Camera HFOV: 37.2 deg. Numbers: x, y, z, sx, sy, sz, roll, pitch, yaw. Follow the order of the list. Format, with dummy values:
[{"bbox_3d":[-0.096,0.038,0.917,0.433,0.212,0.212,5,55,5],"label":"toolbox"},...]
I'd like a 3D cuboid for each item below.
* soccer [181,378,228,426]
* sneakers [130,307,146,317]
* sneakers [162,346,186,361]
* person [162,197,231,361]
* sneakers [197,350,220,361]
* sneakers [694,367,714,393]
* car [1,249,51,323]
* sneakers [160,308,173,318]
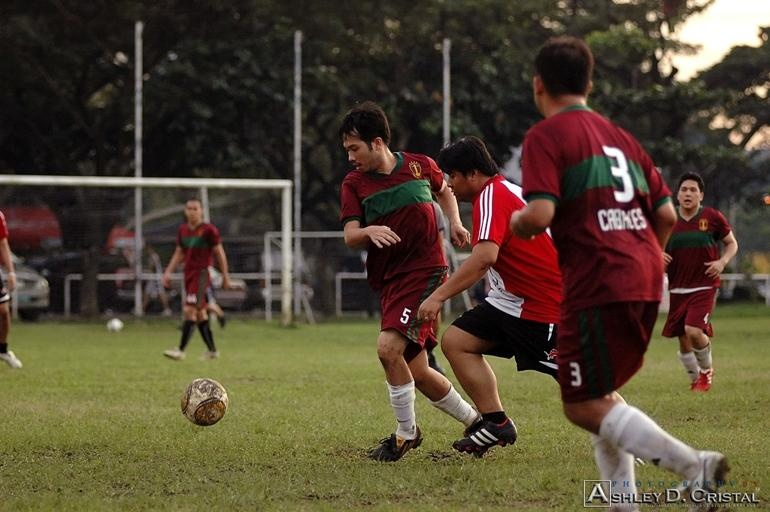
[{"bbox_3d":[-2.253,1.822,14.502,0.612,0.577,0.567,-5,6,-8],"label":"soccer"},{"bbox_3d":[-4.325,1.004,20.111,0.220,0.155,0.073,-3,10,-11],"label":"sneakers"},{"bbox_3d":[-3.479,1.587,18.558,0.450,0.196,0.161,7,9,9],"label":"sneakers"},{"bbox_3d":[-3.114,0.423,18.893,1.076,2.641,1.267,-2,10,-8],"label":"person"},{"bbox_3d":[-2.916,1.659,18.949,0.377,0.152,0.128,1,3,-1],"label":"sneakers"},{"bbox_3d":[4.494,1.762,16.160,0.137,0.364,0.191,41,-24,-28],"label":"sneakers"},{"bbox_3d":[-7.268,0.746,23.432,0.942,0.808,1.753,2,-7,-25],"label":"car"},{"bbox_3d":[-3.864,1.011,20.301,0.166,0.160,0.155,-29,7,-28],"label":"sneakers"}]
